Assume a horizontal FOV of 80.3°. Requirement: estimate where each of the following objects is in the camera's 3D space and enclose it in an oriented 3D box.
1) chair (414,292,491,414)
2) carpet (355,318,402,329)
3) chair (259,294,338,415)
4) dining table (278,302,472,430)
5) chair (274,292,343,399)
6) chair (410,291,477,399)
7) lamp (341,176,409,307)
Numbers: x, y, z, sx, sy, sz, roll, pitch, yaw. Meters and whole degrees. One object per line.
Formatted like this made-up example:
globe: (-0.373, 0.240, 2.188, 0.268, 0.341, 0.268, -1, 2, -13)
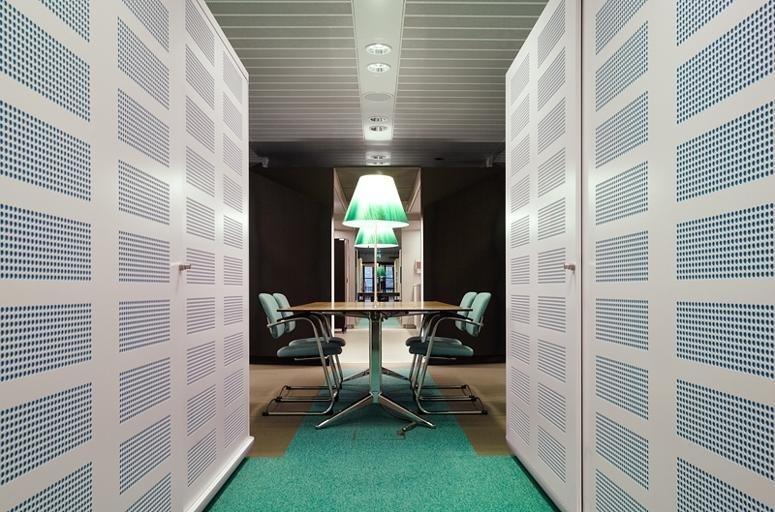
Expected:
chair: (0.611, 0.929, 4.881, 0.787, 1.148, 1.366, 2, -5, 0)
carpet: (-0.253, 2.024, 14.015, 1.028, 0.255, 1.125, -1, -3, 1)
chair: (-0.836, 0.892, 4.662, 0.767, 1.159, 0.939, -3, -2, 3)
dining table: (-0.175, 0.929, 4.240, 1.413, 0.943, 1.377, -4, -4, 6)
chair: (-0.822, 0.883, 4.706, 0.753, 1.102, 0.852, -4, -1, 1)
chair: (0.599, 0.873, 4.696, 0.777, 1.092, 0.845, 4, -1, -11)
lamp: (-0.136, -0.051, 4.647, 0.674, 1.377, 0.658, -6, -16, 28)
